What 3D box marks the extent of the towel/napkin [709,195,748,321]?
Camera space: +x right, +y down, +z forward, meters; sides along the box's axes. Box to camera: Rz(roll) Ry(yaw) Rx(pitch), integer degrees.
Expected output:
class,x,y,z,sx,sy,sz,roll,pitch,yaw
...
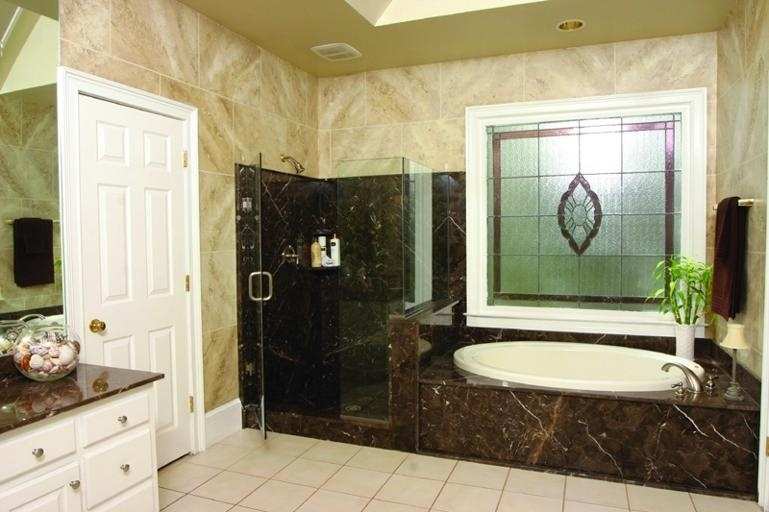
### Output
class,x,y,z,sx,sy,sz,roll,pitch,yaw
towel/napkin,2.657,0.003,4.060,0.188,0.898,0.372,2,12,12

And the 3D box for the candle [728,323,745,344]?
class,x,y,z,sx,sy,sz,roll,pitch,yaw
candle,2.531,0.562,3.811,0.126,0.130,0.132,3,-3,-18

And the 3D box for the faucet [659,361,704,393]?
class,x,y,z,sx,sy,sz,roll,pitch,yaw
faucet,2.256,0.897,3.989,0.127,0.148,0.369,-3,7,-11

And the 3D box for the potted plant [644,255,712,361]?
class,x,y,z,sx,sy,sz,roll,pitch,yaw
potted plant,2.551,0.452,4.535,0.540,0.840,0.515,-5,-5,23

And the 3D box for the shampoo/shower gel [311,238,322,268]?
class,x,y,z,sx,sy,sz,roll,pitch,yaw
shampoo/shower gel,-0.635,-0.014,5.014,0.099,0.232,0.138,-2,12,-6
